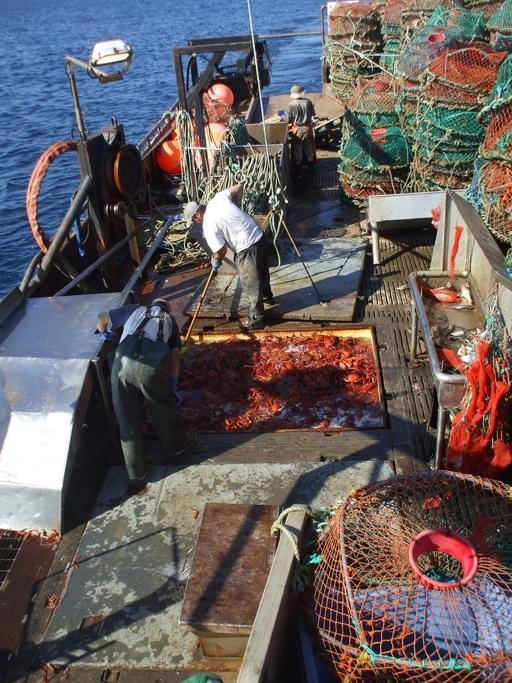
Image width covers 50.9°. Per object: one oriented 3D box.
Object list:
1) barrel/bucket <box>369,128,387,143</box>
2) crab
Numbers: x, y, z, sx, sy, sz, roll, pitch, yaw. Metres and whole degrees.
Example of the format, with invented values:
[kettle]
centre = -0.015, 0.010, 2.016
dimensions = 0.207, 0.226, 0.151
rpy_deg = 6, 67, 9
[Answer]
[barrel/bucket]
centre = 1.670, -2.795, 7.297
dimensions = 0.195, 0.137, 0.196
rpy_deg = -9, 42, 8
[crab]
centre = 0.192, 0.336, 4.990
dimensions = 1.898, 0.121, 1.478
rpy_deg = 0, 32, 9
